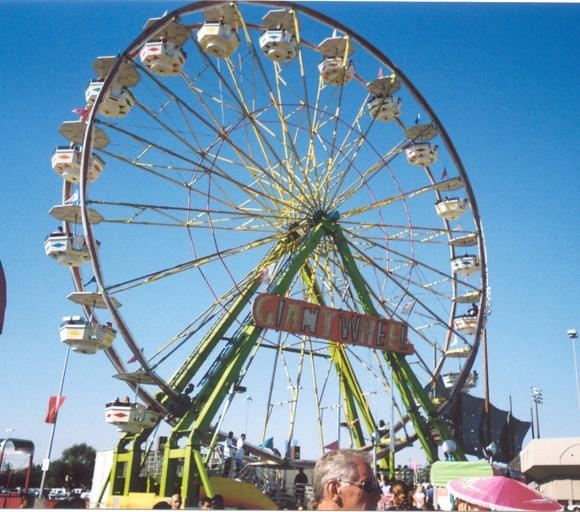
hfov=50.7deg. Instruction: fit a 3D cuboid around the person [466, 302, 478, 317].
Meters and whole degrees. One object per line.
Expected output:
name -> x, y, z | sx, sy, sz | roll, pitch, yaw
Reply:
person -> 7.762, 2.208, 26.209 | 0.432, 0.665, 0.765 | 0, -20, 7
